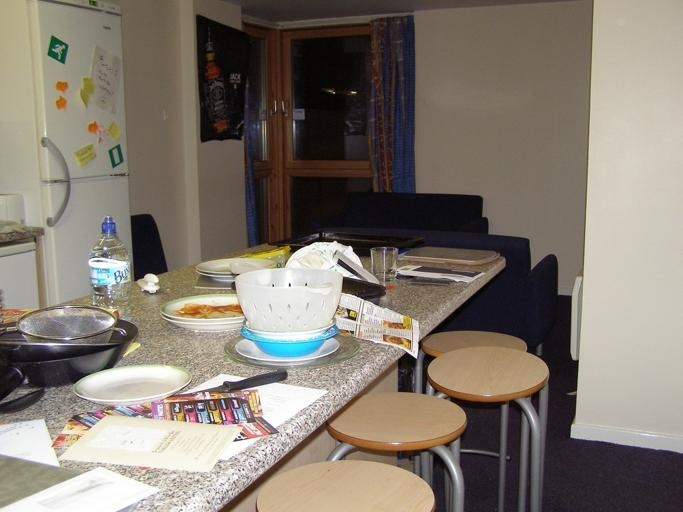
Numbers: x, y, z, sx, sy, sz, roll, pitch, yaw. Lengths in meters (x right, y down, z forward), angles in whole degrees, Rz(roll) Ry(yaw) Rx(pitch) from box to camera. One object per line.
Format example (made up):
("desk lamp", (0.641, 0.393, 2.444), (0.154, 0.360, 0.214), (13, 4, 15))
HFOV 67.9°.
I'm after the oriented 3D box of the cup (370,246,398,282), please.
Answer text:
("cup", (0.150, 0.030, 1.751), (0.109, 0.113, 0.111), (0, 9, 0))
